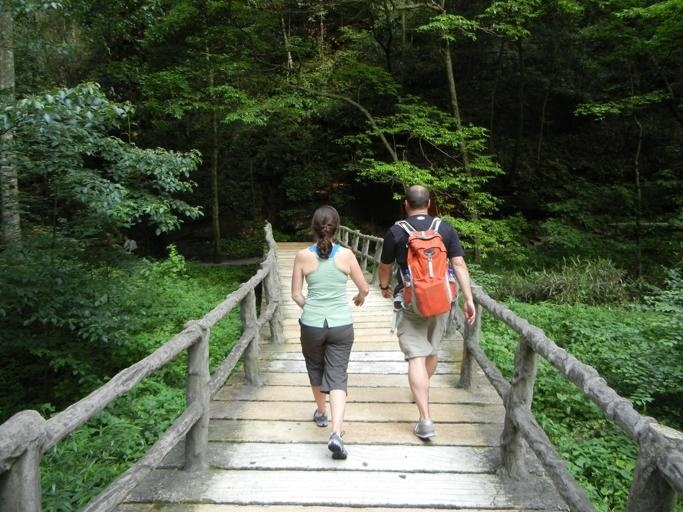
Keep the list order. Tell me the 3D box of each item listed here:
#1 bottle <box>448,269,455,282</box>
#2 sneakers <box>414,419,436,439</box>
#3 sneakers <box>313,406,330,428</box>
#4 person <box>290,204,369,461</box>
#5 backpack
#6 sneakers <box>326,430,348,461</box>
[{"bbox_3d":[0.991,0.175,4.930,0.065,0.125,0.079,-7,-2,-1],"label":"bottle"},{"bbox_3d":[0.732,1.542,4.807,0.184,0.194,0.144,-1,7,5],"label":"sneakers"},{"bbox_3d":[-0.180,1.506,4.995,0.088,0.093,0.222,0,4,-6],"label":"sneakers"},{"bbox_3d":[-0.139,0.639,4.780,0.636,2.150,0.807,0,8,17],"label":"person"},{"bbox_3d":[0.723,0.087,4.779,0.445,0.829,0.296,-2,7,3],"label":"backpack"},{"bbox_3d":[-0.016,1.598,4.566,0.140,0.294,0.141,-7,45,11],"label":"sneakers"}]
